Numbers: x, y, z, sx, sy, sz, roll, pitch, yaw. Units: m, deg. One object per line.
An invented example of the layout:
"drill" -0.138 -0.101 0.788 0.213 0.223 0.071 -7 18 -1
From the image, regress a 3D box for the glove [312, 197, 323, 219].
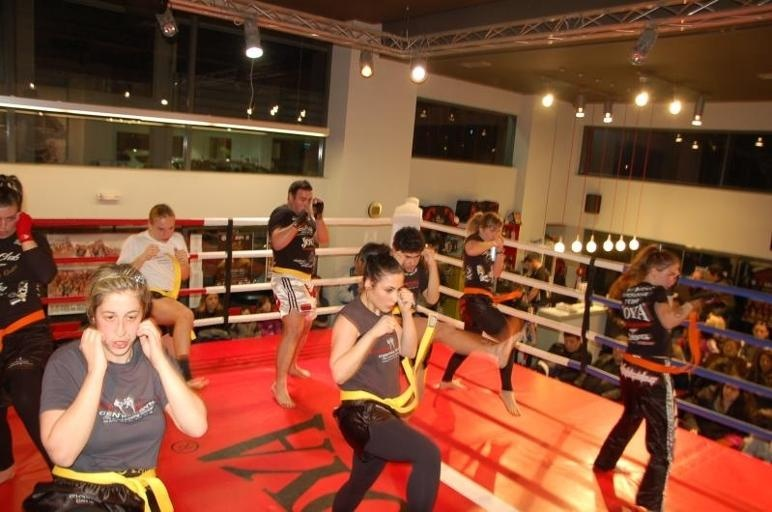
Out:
"glove" -0.753 -0.501 5.639 0.097 0.210 0.156 2 21 16

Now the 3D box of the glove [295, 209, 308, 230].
"glove" -0.856 -0.368 5.405 0.137 0.177 0.212 1 11 -8

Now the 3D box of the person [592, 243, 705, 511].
"person" 2.259 0.981 4.733 0.616 2.097 0.989 8 12 24

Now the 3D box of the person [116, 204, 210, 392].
"person" -2.074 0.347 5.256 0.973 1.659 0.637 11 14 43

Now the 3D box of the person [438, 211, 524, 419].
"person" 1.108 0.519 5.789 0.877 1.980 0.822 7 12 20
